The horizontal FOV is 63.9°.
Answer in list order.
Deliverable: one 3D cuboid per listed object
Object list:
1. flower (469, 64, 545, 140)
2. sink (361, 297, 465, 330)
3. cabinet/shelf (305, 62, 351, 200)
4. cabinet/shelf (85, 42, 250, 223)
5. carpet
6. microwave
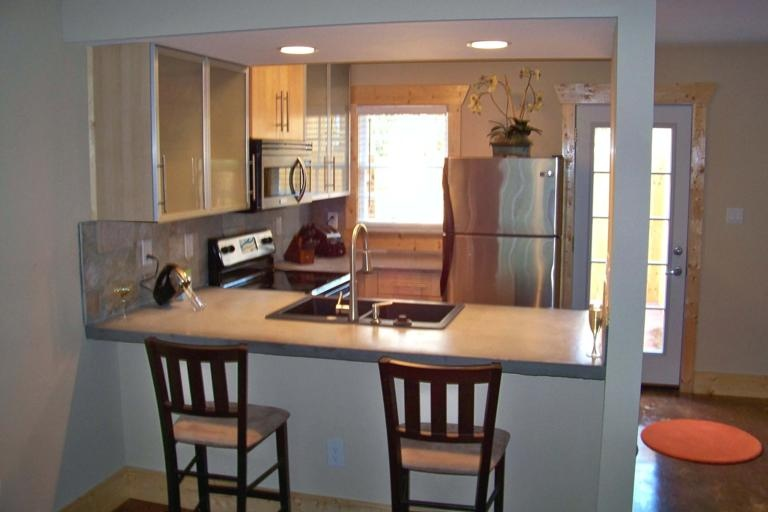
[{"bbox_3d":[1.052,-1.276,5.264,0.671,0.668,0.531,-4,17,4],"label":"flower"},{"bbox_3d":[0.175,0.368,3.928,0.603,0.167,0.539,2,9,16],"label":"sink"},{"bbox_3d":[-0.541,-1.061,6.224,0.428,1.270,1.328,1,-9,-3],"label":"cabinet/shelf"},{"bbox_3d":[-1.366,-0.777,4.108,0.462,1.068,1.163,6,14,12],"label":"cabinet/shelf"},{"bbox_3d":[1.931,1.137,3.779,0.650,0.053,0.491,1,8,11],"label":"carpet"},{"bbox_3d":[-0.839,-0.627,4.786,0.397,0.506,0.834,6,10,21],"label":"microwave"}]
